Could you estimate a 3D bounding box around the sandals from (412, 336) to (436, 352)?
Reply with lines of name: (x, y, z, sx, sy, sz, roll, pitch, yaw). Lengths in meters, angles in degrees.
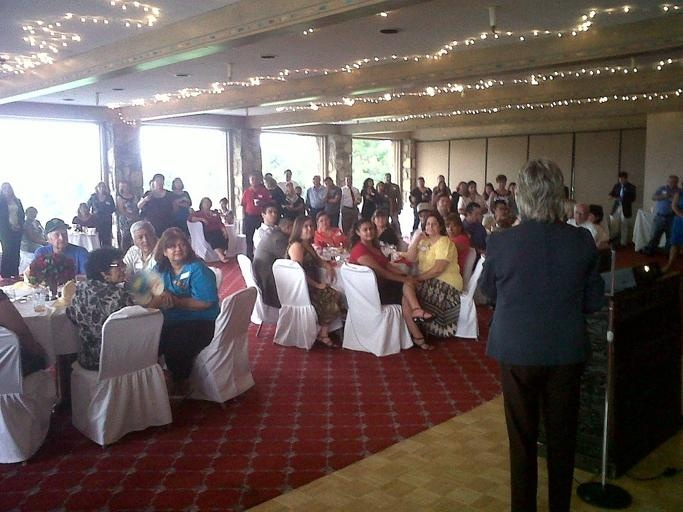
sandals: (0.886, 0.951, 5.514, 0.107, 0.069, 0.262, -7, 12, -35)

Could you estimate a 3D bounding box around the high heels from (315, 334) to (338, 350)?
high heels: (-0.162, 0.947, 5.685, 0.106, 0.096, 0.287, -10, 12, -44)

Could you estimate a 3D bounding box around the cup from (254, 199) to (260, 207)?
cup: (-1.683, -1.049, 10.114, 0.128, 0.129, 0.093, -1, 1, 25)

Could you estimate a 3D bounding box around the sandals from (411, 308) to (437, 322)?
sandals: (0.873, 0.635, 5.446, 0.135, 0.089, 0.243, 20, -16, -38)
